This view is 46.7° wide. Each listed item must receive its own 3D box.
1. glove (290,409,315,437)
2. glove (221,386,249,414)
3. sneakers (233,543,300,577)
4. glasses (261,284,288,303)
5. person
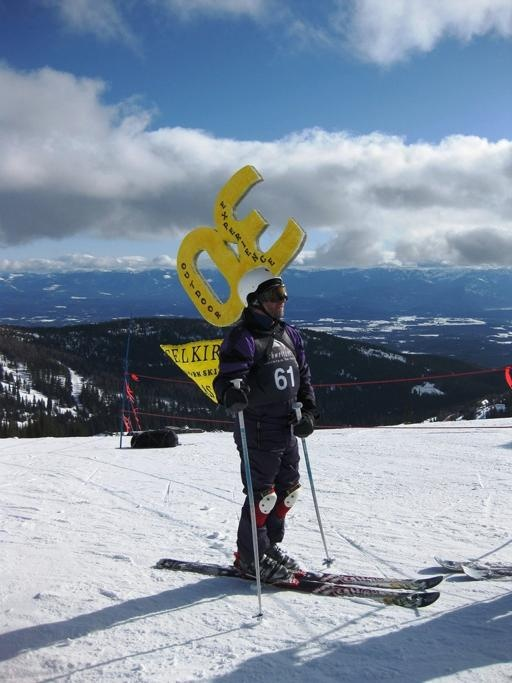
[{"bbox_3d":[0.393,0.685,4.928,0.181,0.218,0.333,-1,0,5],"label":"glove"},{"bbox_3d":[-0.157,0.440,4.553,0.177,0.203,0.159,-1,0,-4],"label":"glove"},{"bbox_3d":[0.140,1.821,4.927,0.645,0.242,0.205,-2,-3,0],"label":"sneakers"},{"bbox_3d":[0.149,-0.401,4.894,0.184,0.091,0.135,-7,0,23],"label":"glasses"},{"bbox_3d":[0.130,0.705,4.895,1.095,2.409,0.485,-1,0,-42],"label":"person"}]
